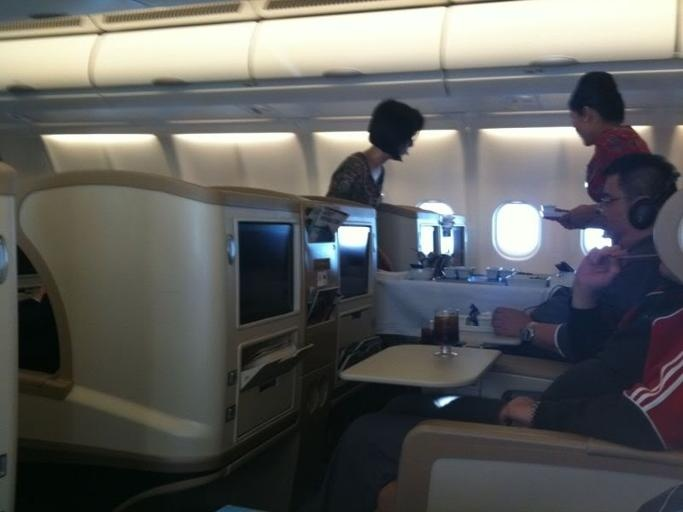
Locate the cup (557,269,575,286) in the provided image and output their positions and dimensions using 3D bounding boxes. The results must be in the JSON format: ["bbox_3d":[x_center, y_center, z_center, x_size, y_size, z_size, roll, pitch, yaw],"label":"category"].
[{"bbox_3d":[0.877,0.083,2.330,0.061,0.060,0.046,-16,10,-31],"label":"cup"}]

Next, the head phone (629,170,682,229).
[{"bbox_3d":[1.150,-0.204,2.173,0.077,0.189,0.202,36,11,12],"label":"head phone"}]

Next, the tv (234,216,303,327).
[{"bbox_3d":[-0.290,0.049,2.299,0.057,0.533,0.436,0,1,35],"label":"tv"}]

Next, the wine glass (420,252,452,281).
[{"bbox_3d":[0.433,0.056,2.742,0.125,0.115,0.100,5,-22,30],"label":"wine glass"}]
